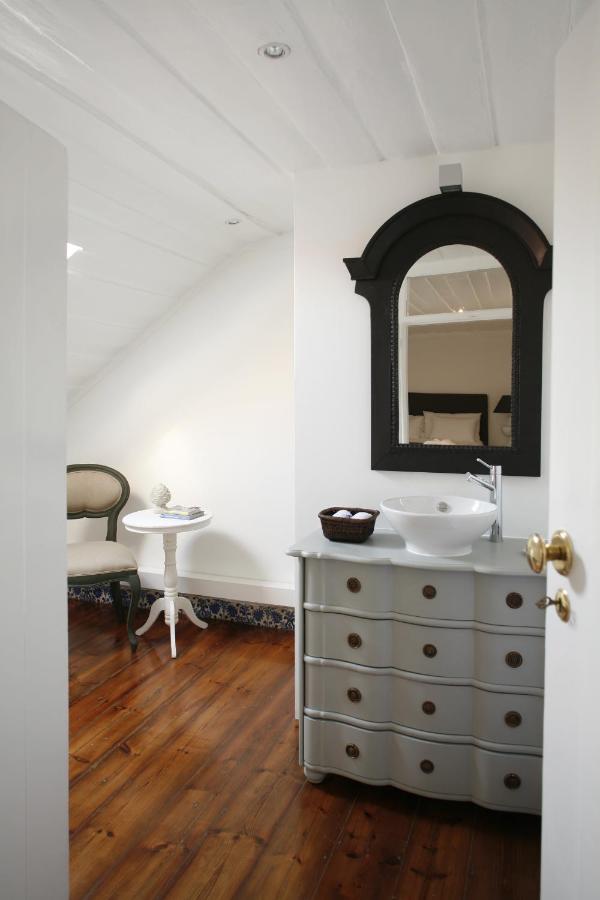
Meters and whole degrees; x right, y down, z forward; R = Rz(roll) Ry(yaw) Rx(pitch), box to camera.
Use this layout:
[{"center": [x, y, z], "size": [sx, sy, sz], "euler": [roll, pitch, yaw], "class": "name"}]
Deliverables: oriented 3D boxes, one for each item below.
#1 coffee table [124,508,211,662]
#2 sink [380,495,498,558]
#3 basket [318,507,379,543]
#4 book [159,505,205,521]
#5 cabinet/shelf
[{"center": [-0.613, 0.593, 3.273], "size": [0.399, 0.630, 0.627], "euler": [0, 5, 3], "class": "coffee table"}, {"center": [0.408, 0.222, 2.046], "size": [0.327, 0.134, 0.399], "euler": [-1, 5, -8], "class": "sink"}, {"center": [0.155, 0.237, 2.206], "size": [0.180, 0.084, 0.277], "euler": [1, 5, 7], "class": "basket"}, {"center": [-0.552, 0.286, 3.181], "size": [0.214, 0.040, 0.195], "euler": [0, 5, -1], "class": "book"}, {"center": [0.358, 0.654, 1.894], "size": [0.810, 0.735, 0.346], "euler": [0, 1, 21], "class": "cabinet/shelf"}]
